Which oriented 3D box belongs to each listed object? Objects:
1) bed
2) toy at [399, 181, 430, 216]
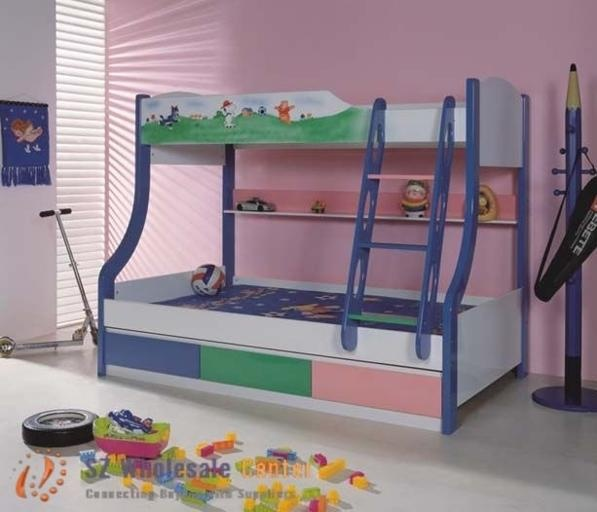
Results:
[{"bbox_3d":[0.077,-0.088,3.809,2.455,2.038,1.492,5,5,29],"label":"bed"},{"bbox_3d":[0.886,-0.412,4.040,0.243,0.336,0.246,1,2,33],"label":"toy"}]
